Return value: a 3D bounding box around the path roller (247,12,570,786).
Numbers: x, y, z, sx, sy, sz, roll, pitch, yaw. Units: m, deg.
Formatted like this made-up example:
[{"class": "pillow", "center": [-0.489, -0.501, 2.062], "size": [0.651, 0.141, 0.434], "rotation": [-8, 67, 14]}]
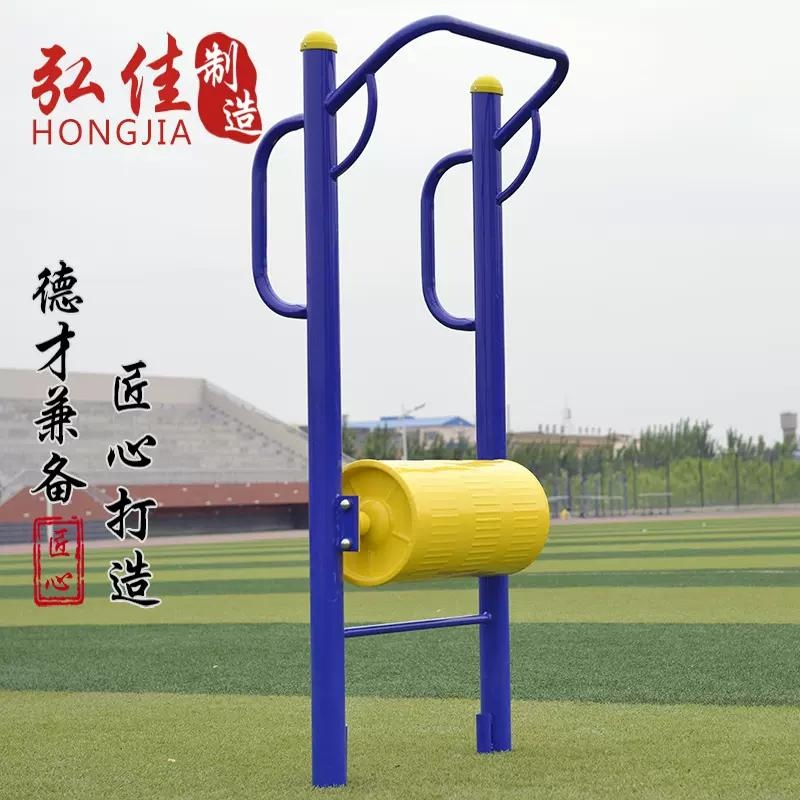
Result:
[{"class": "path roller", "center": [0.021, 0.006, 13.126], "size": [1.694, 4.886, 1.126], "rotation": [2, -4, -38]}]
